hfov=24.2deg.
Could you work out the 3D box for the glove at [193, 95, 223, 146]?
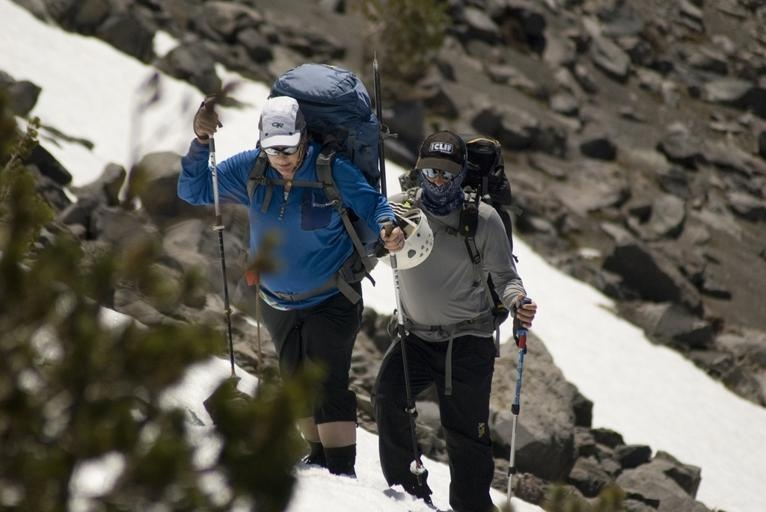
[{"bbox_3d":[-3.257,-2.544,33.257,0.501,0.901,0.260,26,21,-6],"label":"glove"}]
